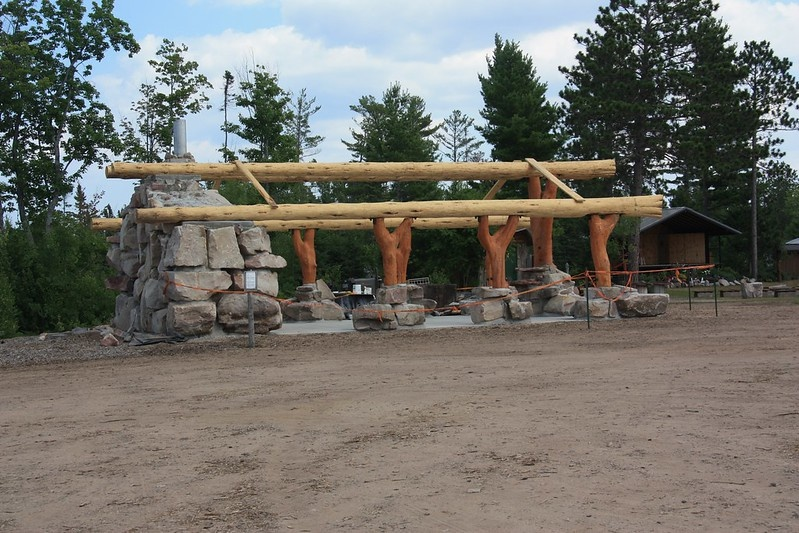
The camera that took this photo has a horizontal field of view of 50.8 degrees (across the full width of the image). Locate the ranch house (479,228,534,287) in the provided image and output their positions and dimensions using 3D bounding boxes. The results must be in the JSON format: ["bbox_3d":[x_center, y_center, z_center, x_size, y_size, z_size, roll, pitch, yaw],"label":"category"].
[{"bbox_3d":[3.741,-0.594,28.965,2.008,2.659,1.249,-3,16,-4],"label":"ranch house"}]

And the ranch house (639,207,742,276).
[{"bbox_3d":[16.281,-1.592,47.050,4.912,2.669,5.624,0,-1,14],"label":"ranch house"}]
